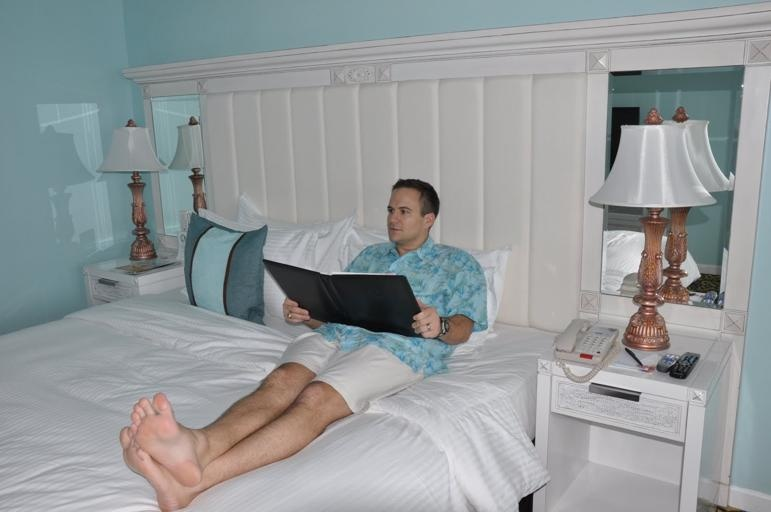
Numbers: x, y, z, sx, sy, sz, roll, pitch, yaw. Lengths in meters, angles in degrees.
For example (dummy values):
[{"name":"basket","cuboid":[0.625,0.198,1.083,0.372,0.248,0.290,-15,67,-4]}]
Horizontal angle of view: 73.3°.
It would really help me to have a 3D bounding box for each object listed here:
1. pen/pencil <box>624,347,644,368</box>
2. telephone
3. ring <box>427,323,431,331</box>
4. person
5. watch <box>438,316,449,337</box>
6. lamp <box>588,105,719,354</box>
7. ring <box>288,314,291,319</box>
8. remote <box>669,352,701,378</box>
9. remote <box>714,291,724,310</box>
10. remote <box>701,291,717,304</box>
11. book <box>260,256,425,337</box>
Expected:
[{"name":"pen/pencil","cuboid":[1.052,0.435,2.190,0.018,0.018,0.099,3,24,-24]},{"name":"telephone","cuboid":[0.878,0.394,2.241,0.250,0.107,0.314,-1,29,31]},{"name":"ring","cuboid":[0.191,0.321,2.289,0.018,0.026,0.025,0,7,5]},{"name":"person","cuboid":[-0.356,0.176,2.326,0.891,0.876,1.719,13,22,43]},{"name":"watch","cuboid":[0.264,0.322,2.342,0.040,0.076,0.064,5,-4,-23]},{"name":"lamp","cuboid":[1.168,-0.109,2.247,0.482,1.022,0.337,-7,14,-31]},{"name":"ring","cuboid":[-0.486,0.301,2.574,0.015,0.020,0.006,-1,1,29]},{"name":"remote","cuboid":[1.211,0.426,2.085,0.064,0.049,0.211,8,14,31]},{"name":"remote","cuboid":[1.551,0.204,2.388,0.036,0.063,0.017,-1,-29,38]},{"name":"remote","cuboid":[1.518,0.194,2.404,0.045,0.060,0.022,9,7,30]},{"name":"book","cuboid":[-0.185,0.198,2.463,0.589,0.347,0.057,2,50,31]}]
